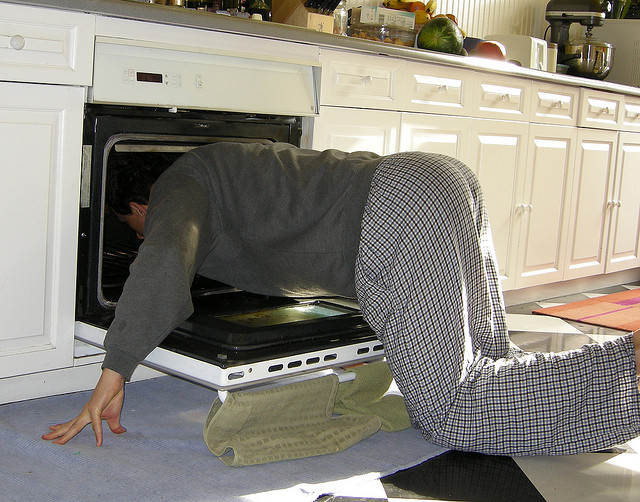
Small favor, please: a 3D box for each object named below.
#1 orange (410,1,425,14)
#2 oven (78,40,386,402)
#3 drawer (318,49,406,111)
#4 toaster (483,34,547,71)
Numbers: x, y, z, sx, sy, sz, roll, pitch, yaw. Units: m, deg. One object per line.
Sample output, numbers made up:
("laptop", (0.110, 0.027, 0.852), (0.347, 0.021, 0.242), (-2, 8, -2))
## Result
("orange", (0.491, -1.217, 2.722), (0.071, 0.075, 0.088), (5, 8, 6))
("oven", (-0.345, -0.181, 1.779), (1.183, 0.871, 0.801), (25, 26, 30))
("drawer", (0.155, -0.669, 2.179), (0.372, 0.227, 0.315), (-11, 24, -39))
("toaster", (1.142, -1.109, 3.117), (0.433, 0.206, 0.364), (-13, 25, -38))
